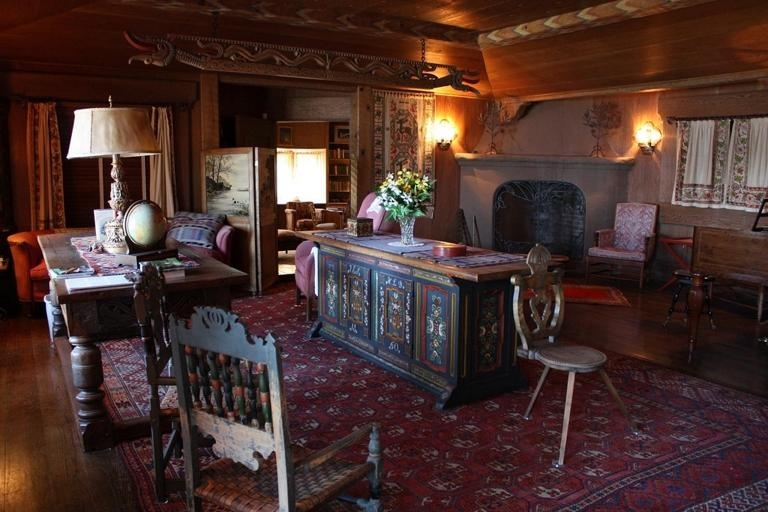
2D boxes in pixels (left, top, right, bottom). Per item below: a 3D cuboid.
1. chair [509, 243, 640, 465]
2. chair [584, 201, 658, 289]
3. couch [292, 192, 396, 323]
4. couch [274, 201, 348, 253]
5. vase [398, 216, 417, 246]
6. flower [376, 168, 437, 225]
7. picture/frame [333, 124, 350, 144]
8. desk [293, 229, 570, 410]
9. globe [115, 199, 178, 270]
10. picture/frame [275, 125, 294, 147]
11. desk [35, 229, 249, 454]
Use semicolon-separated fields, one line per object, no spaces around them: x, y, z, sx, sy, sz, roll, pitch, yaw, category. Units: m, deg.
1.380;0.694;3.983;0.831;1.297;0.872;-8;14;-31;chair
3.878;-0.204;8.362;1.102;1.193;0.953;-9;13;-33;chair
-0.569;-0.098;7.550;1.730;1.987;1.550;-1;4;-23;couch
-1.588;-0.746;10.927;1.475;1.194;1.384;-1;2;-32;couch
0.296;-0.277;5.459;0.284;0.362;0.268;-1;8;4;vase
0.196;-0.637;5.452;0.683;0.520;0.648;6;14;26;flower
-1.003;-2.802;11.969;0.334;0.421;0.133;-3;12;-21;picture/frame
0.295;0.490;5.574;1.113;1.206;3.229;-5;10;-34;desk
-1.870;-0.182;4.070;0.332;0.470;0.396;2;8;29;globe
-2.251;-2.706;11.815;0.346;0.502;0.119;-7;14;-37;picture/frame
-2.650;0.488;5.289;1.352;1.159;3.647;-6;12;-33;desk
